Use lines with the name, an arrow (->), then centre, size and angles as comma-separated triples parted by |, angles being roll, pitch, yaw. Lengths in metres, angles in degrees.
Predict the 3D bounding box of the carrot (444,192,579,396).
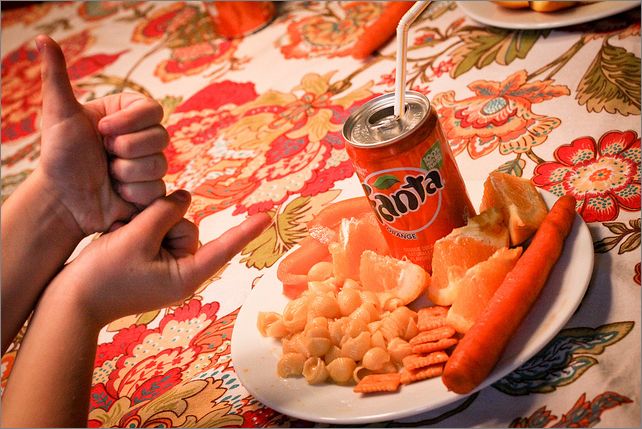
carrot -> 0.361, 0.070, 0.888 | 0.098, 0.092, 0.520 | 36, 63, 4

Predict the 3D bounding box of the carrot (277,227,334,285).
carrot -> -0.033, 0.082, 0.997 | 0.063, 0.037, 0.112 | 36, 73, 11

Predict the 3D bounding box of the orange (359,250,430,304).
orange -> 0.137, 0.106, 0.935 | 0.136, 0.080, 0.078 | 12, 40, 43

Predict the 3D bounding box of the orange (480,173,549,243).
orange -> 0.331, -0.012, 0.927 | 0.117, 0.047, 0.117 | 23, 71, 23
